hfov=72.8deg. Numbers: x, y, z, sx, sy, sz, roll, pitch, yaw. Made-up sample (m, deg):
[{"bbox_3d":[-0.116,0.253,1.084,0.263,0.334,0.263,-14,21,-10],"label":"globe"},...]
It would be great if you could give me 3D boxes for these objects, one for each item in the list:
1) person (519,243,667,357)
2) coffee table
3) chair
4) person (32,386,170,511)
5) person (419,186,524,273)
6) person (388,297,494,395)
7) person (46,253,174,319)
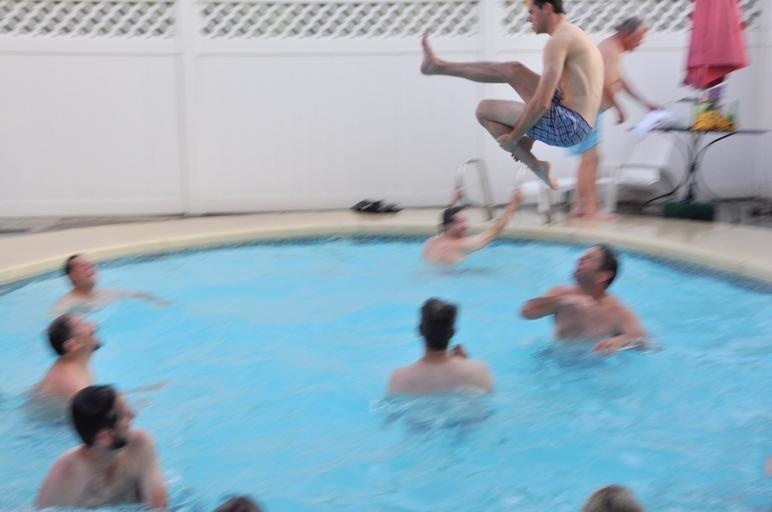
[{"bbox_3d":[1.784,0.364,4.388,0.501,0.809,0.823,2,23,-43],"label":"person"},{"bbox_3d":[4.315,-1.048,7.106,2.003,1.065,1.807,0,6,7],"label":"coffee table"},{"bbox_3d":[2.632,-1.494,7.337,2.711,1.466,1.418,-10,15,-20],"label":"chair"},{"bbox_3d":[-1.464,0.998,2.618,0.582,0.683,0.264,-8,15,-23],"label":"person"},{"bbox_3d":[0.822,-0.313,5.399,0.356,0.848,1.216,-16,19,-42],"label":"person"},{"bbox_3d":[0.350,0.595,3.306,0.689,0.670,0.249,-3,14,-2],"label":"person"},{"bbox_3d":[-2.618,0.216,4.808,0.852,0.565,0.380,-11,16,-34],"label":"person"}]
